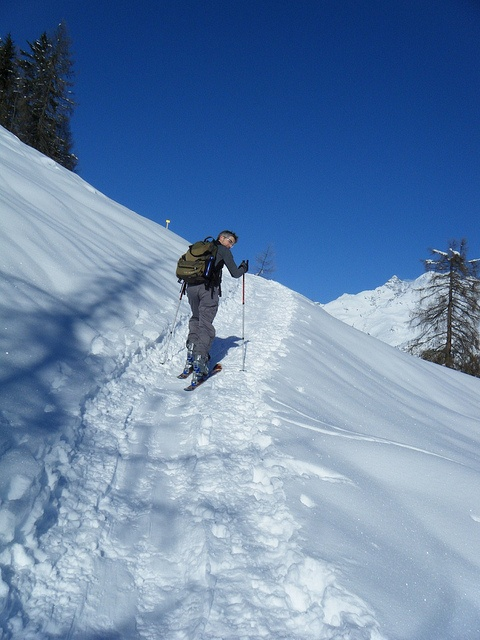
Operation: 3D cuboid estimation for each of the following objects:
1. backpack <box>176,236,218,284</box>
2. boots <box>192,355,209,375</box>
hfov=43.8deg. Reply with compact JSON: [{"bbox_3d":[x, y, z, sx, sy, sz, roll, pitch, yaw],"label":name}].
[{"bbox_3d":[-0.530,-0.751,7.525,0.544,0.615,0.326,7,-9,39],"label":"backpack"},{"bbox_3d":[-0.482,0.565,7.383,0.203,0.307,0.282,8,10,-7],"label":"boots"}]
